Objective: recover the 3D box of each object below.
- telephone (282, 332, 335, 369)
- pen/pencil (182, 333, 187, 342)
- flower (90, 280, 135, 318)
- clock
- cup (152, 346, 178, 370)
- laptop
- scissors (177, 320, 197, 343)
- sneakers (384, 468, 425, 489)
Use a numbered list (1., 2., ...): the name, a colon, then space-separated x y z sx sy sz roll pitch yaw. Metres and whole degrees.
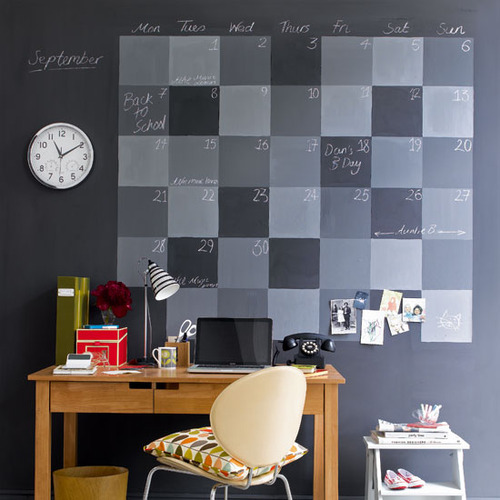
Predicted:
1. telephone: 0.298 0.530 3.615 0.252 0.221 0.151 1 -26 6
2. pen/pencil: -0.335 0.443 3.629 0.022 0.044 0.030 0 -4 -6
3. flower: -0.706 0.248 3.631 0.185 0.176 0.055 1 -4 -15
4. clock: -1.007 -0.483 3.807 0.273 0.365 0.033 0 -3 -1
5. cup: -0.426 0.546 3.566 0.113 0.114 0.087 1 -5 0
6. laptop: -0.085 0.463 3.520 0.291 0.285 0.213 0 -9 3
7. scissors: -0.328 0.421 3.682 0.023 0.115 0.099 12 5 -44
8. sneakers: 0.726 1.101 3.426 0.088 0.052 0.125 1 -10 -23
